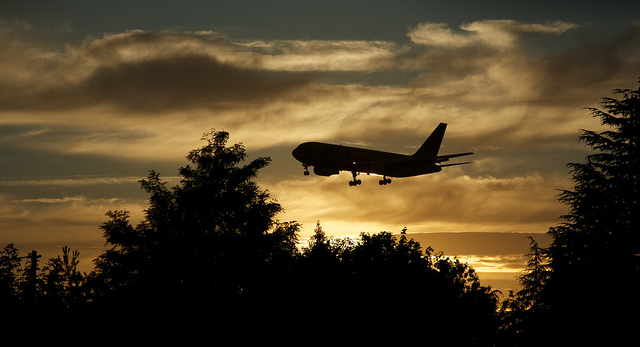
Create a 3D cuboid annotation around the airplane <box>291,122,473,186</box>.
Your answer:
[{"bbox_3d":[7.059,-2.229,139.026,19.408,4.930,15.316,5,3,-23],"label":"airplane"}]
